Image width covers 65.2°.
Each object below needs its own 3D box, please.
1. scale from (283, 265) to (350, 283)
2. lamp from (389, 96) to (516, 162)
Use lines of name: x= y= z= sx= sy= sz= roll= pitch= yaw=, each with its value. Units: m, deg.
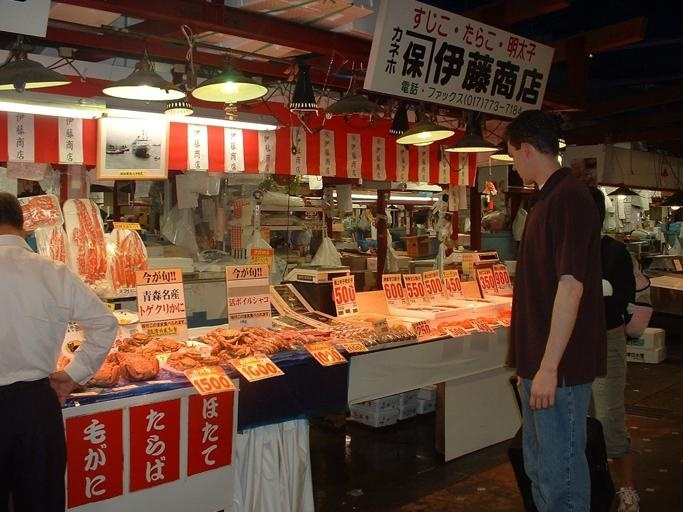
scale: x=-0.248 y=0.196 z=5.005 sx=0.624 sy=0.138 sz=0.365 roll=1 pitch=5 yaw=4
lamp: x=1.097 y=-1.296 z=5.463 sx=1.486 sy=0.424 sz=0.619 roll=6 pitch=-10 yaw=-41
